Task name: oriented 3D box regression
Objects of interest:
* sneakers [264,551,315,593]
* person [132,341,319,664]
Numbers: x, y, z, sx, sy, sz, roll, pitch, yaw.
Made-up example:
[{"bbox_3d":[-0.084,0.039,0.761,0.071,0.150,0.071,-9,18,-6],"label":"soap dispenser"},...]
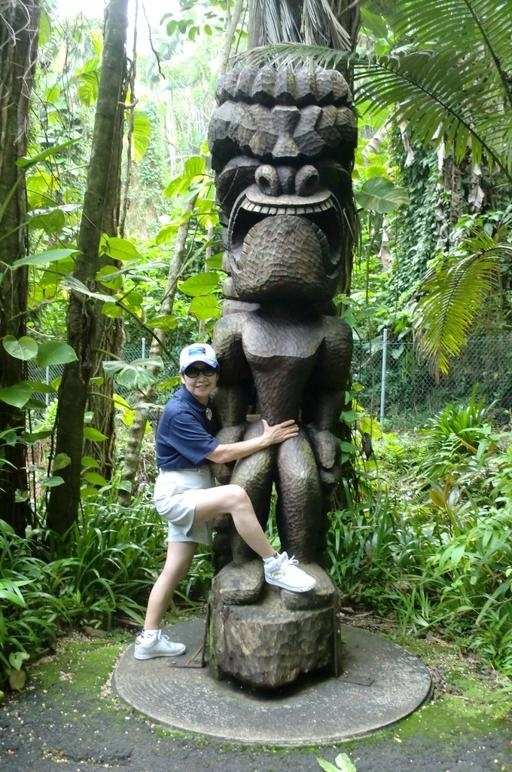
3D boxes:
[{"bbox_3d":[0.111,0.661,2.356,0.223,0.117,0.088,4,4,29],"label":"sneakers"},{"bbox_3d":[-0.129,0.442,2.497,0.666,1.198,0.435,0,1,6],"label":"person"}]
